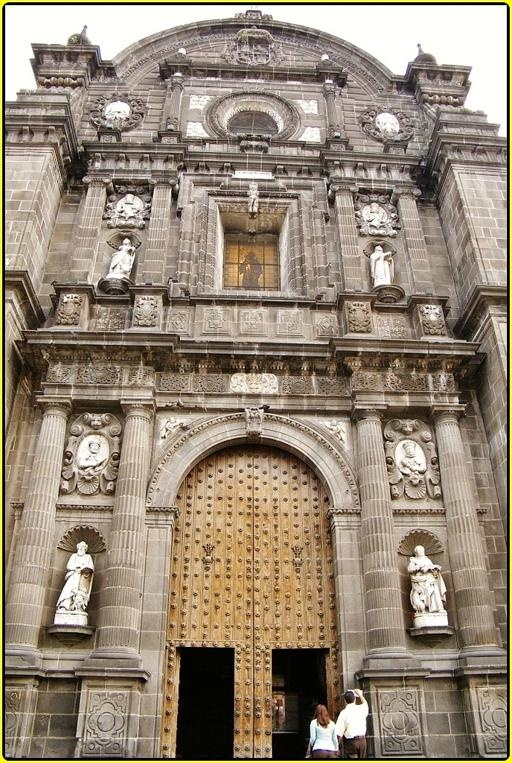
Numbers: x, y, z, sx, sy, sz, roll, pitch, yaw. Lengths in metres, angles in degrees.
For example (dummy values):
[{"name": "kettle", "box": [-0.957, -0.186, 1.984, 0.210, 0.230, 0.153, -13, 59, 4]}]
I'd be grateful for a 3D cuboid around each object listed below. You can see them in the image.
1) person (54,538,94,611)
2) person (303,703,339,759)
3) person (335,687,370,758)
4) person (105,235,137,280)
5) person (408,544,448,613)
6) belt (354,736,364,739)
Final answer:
[{"name": "person", "box": [-3.031, 3.345, 10.426, 0.485, 1.237, 0.267, 15, -39, -20]}, {"name": "person", "box": [0.807, 4.286, 7.499, 0.380, 0.591, 0.938, -4, -39, 5]}, {"name": "person", "box": [1.244, 4.415, 7.954, 0.417, 0.768, 0.881, -5, -39, 6]}, {"name": "person", "box": [-3.149, -2.895, 14.482, 0.570, 1.697, 0.387, 12, -38, -15]}, {"name": "person", "box": [2.998, 3.483, 10.775, 0.521, 1.291, 0.394, -8, -41, 10]}, {"name": "belt", "box": [1.335, 4.570, 7.830, 0.088, 0.036, 0.068, -3, -9, 6]}]
